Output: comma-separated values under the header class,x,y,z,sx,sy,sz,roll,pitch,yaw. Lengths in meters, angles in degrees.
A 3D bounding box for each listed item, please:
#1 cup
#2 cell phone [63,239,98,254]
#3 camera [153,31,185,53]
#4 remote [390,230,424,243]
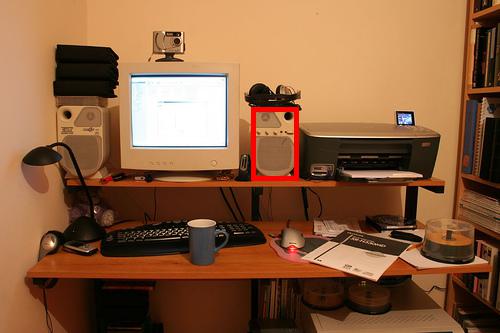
class,x,y,z,sx,sy,sz,roll,pitch,yaw
cup,-0.218,0.355,1.964,0.239,0.210,0.146,1,1,-18
cell phone,-0.837,0.392,2.062,0.126,0.025,0.068,9,16,13
camera,-0.443,-0.669,2.316,0.201,0.132,0.108,1,7,-2
remote,0.811,0.349,2.175,0.104,0.026,0.064,12,14,34
